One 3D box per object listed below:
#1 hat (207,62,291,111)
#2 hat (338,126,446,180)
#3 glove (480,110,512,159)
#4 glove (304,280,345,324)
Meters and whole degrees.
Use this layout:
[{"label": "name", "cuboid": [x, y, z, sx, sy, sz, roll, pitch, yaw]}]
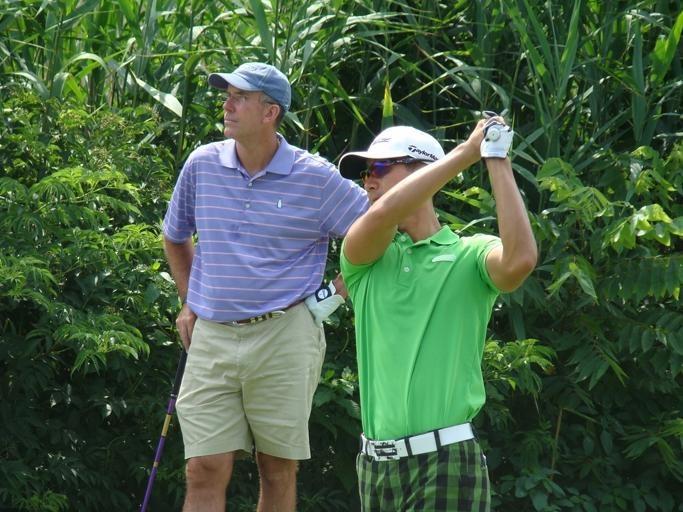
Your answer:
[{"label": "hat", "cuboid": [-0.533, -0.969, 5.214, 0.402, 0.214, 0.277, 24, -3, -30]}, {"label": "hat", "cuboid": [0.233, -0.471, 4.127, 0.345, 0.222, 0.266, 12, -7, -3]}, {"label": "glove", "cuboid": [0.658, -0.504, 3.806, 0.111, 0.215, 0.084, -13, -9, 5]}, {"label": "glove", "cuboid": [-0.106, 0.264, 5.147, 0.227, 0.183, 0.126, -41, 0, -5]}]
